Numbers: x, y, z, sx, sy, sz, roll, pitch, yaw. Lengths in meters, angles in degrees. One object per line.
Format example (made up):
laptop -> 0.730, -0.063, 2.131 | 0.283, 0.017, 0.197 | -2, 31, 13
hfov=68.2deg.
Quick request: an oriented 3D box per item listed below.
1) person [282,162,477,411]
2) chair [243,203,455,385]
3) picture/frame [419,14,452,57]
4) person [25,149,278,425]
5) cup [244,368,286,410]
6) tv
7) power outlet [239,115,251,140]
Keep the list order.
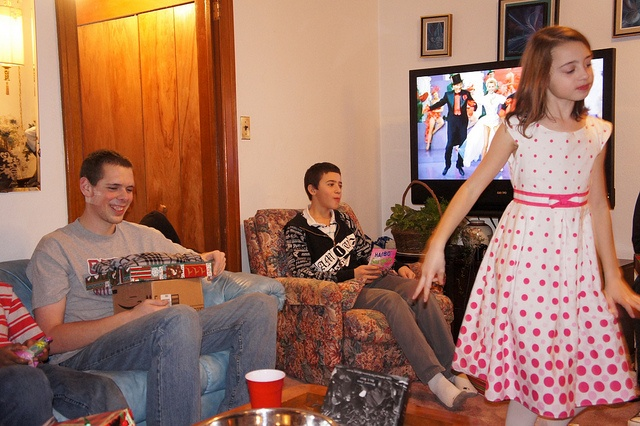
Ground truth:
person -> 0.393, 0.398, 3.024 | 0.801, 1.620, 1.219 | -3, -9, -39
chair -> 0.215, 0.507, 3.096 | 0.806, 0.964, 1.024 | -3, 3, -32
picture/frame -> 1.097, -1.643, 4.417 | 0.377, 0.524, 0.073 | 0, 0, 31
person -> -0.791, 0.449, 2.812 | 1.240, 1.670, 1.067 | -10, -10, 28
cup -> -0.194, 0.589, 1.638 | 0.124, 0.103, 0.125 | -1, -5, 0
tv -> 1.117, -0.489, 2.813 | 1.306, 0.997, 0.397 | -1, -4, 29
power outlet -> -0.547, -0.613, 3.466 | 0.020, 0.176, 0.109 | 7, 15, 37
